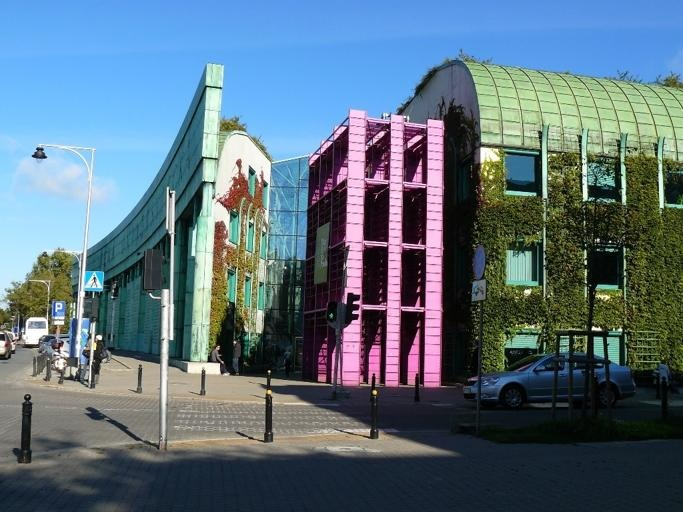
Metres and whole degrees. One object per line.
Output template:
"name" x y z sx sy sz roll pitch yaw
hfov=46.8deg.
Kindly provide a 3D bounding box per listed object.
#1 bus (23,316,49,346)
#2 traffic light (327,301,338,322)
"bus" -29.039 7.560 76.917 2.598 3.221 6.818 2 -3 -23
"traffic light" -0.286 1.991 27.568 0.344 0.668 0.463 1 -12 -2
